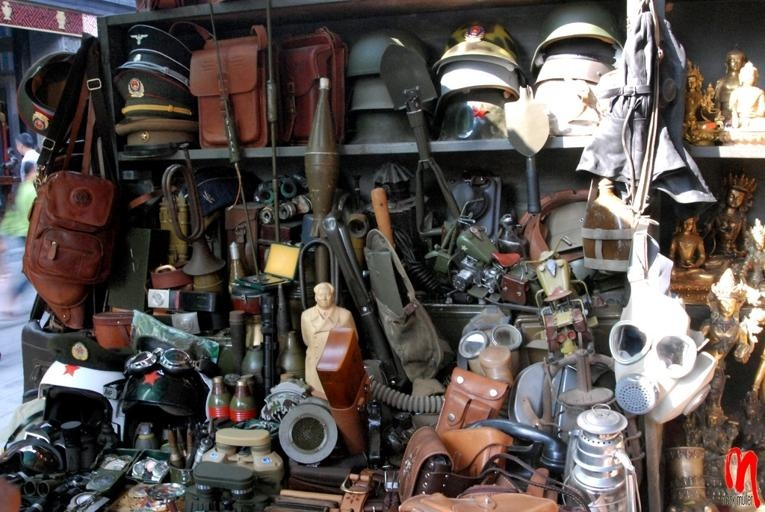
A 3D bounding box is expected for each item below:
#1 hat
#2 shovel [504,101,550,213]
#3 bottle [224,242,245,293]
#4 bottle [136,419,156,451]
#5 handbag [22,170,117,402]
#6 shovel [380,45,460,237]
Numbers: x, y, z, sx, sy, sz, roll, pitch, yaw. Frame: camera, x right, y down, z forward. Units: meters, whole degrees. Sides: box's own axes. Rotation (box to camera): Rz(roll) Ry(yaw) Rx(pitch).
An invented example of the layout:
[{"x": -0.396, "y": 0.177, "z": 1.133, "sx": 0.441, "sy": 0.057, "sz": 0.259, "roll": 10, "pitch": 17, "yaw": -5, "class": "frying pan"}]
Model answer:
[{"x": -1.518, "y": -0.861, "z": 3.776, "sx": 1.030, "sy": 0.685, "sz": 0.279, "roll": 1, "pitch": -5, "yaw": 7, "class": "hat"}, {"x": 0.686, "y": -0.473, "z": 3.344, "sx": 0.216, "sy": 0.513, "sz": 0.282, "roll": 1, "pitch": -5, "yaw": 5, "class": "shovel"}, {"x": -0.750, "y": 0.050, "z": 3.560, "sx": 0.087, "sy": 0.275, "sz": 0.303, "roll": 3, "pitch": -5, "yaw": -12, "class": "bottle"}, {"x": -1.099, "y": 0.836, "z": 3.235, "sx": 0.113, "sy": 0.180, "sz": 0.106, "roll": -1, "pitch": -7, "yaw": 0, "class": "bottle"}, {"x": -1.617, "y": 0.050, "z": 3.555, "sx": 0.532, "sy": 0.887, "sz": 0.339, "roll": 6, "pitch": 2, "yaw": -7, "class": "handbag"}, {"x": 0.223, "y": -0.513, "z": 3.553, "sx": 0.319, "sy": 1.065, "sz": 0.191, "roll": -7, "pitch": 16, "yaw": 26, "class": "shovel"}]
